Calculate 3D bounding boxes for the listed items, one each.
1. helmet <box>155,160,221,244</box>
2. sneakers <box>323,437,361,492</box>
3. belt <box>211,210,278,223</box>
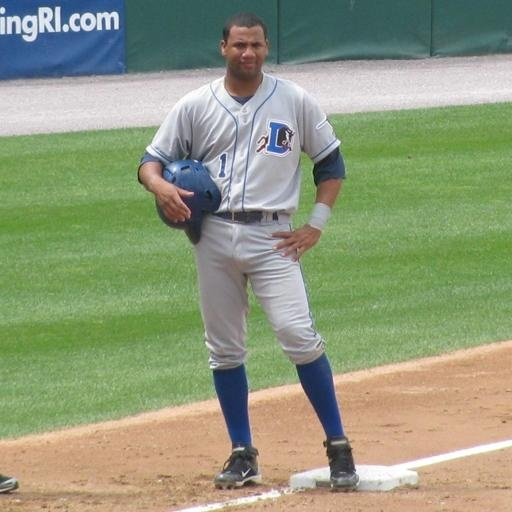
[{"bbox_3d":[-0.513,-0.434,10.160,0.569,0.460,0.607,-37,5,7],"label":"helmet"},{"bbox_3d":[0.644,1.556,9.901,0.236,0.379,0.229,-5,11,2],"label":"sneakers"},{"bbox_3d":[-0.075,-0.290,9.898,0.485,0.102,0.064,-5,11,2],"label":"belt"}]
